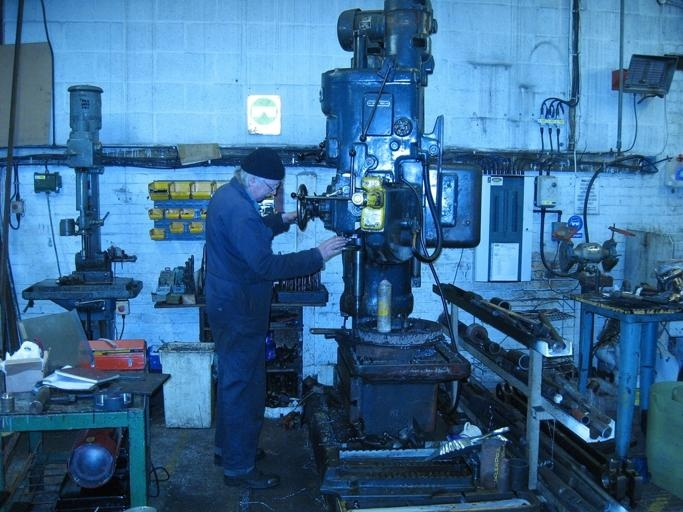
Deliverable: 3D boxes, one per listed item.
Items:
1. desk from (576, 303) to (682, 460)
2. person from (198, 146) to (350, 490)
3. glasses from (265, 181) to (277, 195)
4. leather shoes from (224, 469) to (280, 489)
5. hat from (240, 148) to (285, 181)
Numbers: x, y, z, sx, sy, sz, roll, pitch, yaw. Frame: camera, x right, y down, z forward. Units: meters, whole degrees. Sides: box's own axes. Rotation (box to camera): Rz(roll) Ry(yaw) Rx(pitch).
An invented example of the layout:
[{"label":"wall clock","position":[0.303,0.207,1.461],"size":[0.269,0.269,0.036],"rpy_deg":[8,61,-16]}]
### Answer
[{"label":"desk","position":[2.423,0.929,7.747],"size":[0.753,1.113,1.145],"rpy_deg":[-2,7,-4]},{"label":"person","position":[-0.617,0.509,7.205],"size":[0.897,2.632,0.450],"rpy_deg":[-1,6,4]},{"label":"glasses","position":[-0.515,-0.516,7.183],"size":[0.069,0.105,0.098],"rpy_deg":[-5,-16,-31]},{"label":"leather shoes","position":[-0.672,1.696,7.252],"size":[0.387,0.182,0.173],"rpy_deg":[0,3,-9]},{"label":"hat","position":[-0.588,-0.676,7.096],"size":[0.261,0.161,0.230],"rpy_deg":[8,8,-28]}]
